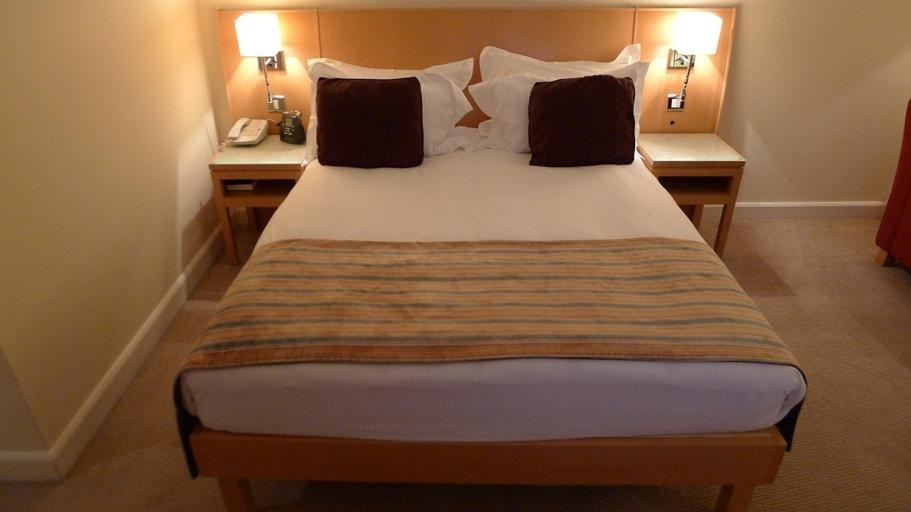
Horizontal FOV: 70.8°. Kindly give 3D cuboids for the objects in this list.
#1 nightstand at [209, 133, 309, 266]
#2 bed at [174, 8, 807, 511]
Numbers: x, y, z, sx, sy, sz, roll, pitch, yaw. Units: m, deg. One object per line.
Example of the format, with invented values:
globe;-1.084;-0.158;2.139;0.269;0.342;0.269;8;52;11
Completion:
nightstand;-1.542;-0.391;5.090;0.685;0.703;0.564;-7;13;-19
bed;0.178;0.522;3.911;3.157;1.356;1.526;0;27;0
